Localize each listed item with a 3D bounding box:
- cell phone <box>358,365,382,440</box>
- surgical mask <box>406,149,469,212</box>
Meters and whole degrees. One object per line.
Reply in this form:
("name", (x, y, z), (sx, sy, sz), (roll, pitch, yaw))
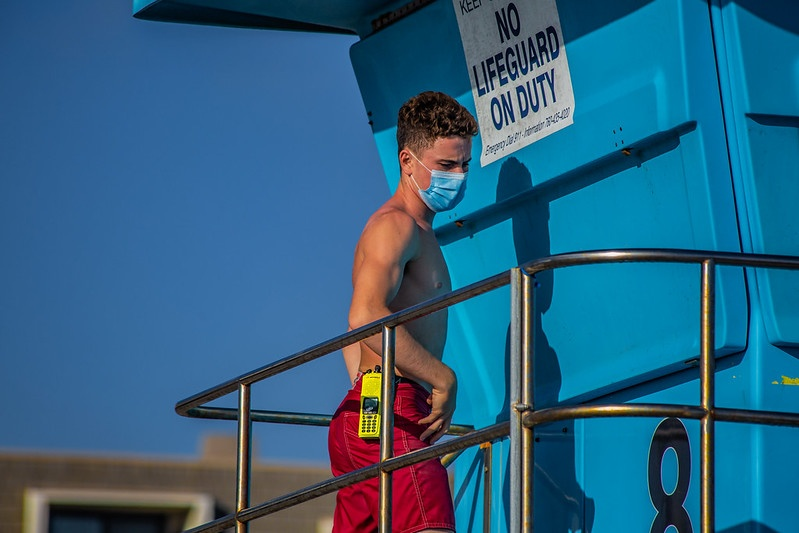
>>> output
("cell phone", (-0.144, 0.750, 9.647), (0.133, 0.378, 0.078), (-1, -9, 26))
("surgical mask", (0.210, -0.456, 10.008), (0.279, 0.184, 0.256), (31, 9, 18))
